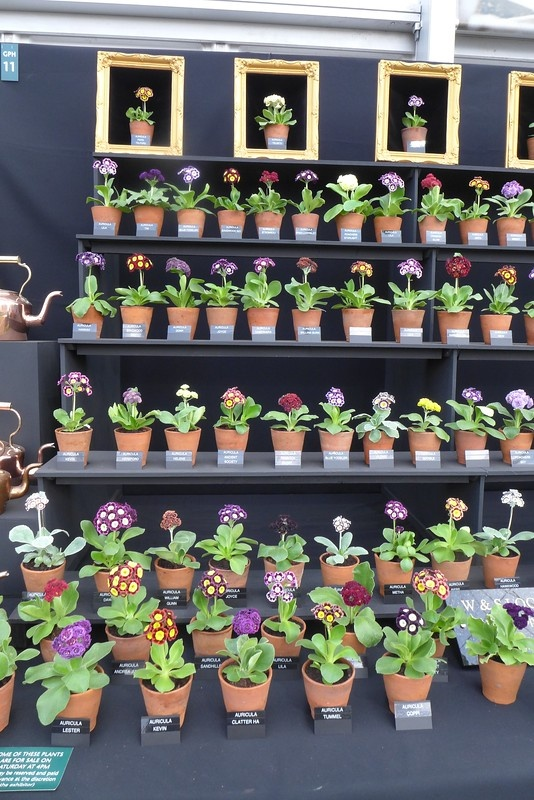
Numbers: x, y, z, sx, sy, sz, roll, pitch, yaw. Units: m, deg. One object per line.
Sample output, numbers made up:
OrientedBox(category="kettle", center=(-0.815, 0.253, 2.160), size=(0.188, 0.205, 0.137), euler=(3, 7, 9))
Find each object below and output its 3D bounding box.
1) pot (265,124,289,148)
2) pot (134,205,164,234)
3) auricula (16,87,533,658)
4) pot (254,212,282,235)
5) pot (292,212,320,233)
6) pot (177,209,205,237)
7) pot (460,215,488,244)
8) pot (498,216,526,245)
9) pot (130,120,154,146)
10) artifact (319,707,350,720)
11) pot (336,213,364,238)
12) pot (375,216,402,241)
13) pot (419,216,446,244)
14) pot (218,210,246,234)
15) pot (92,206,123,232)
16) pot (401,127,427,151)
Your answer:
OrientedBox(category="pot", center=(0.042, -1.138, 2.928), size=(0.091, 0.075, 0.098), euler=(0, 8, 0))
OrientedBox(category="pot", center=(-0.488, -0.733, 2.754), size=(0.112, 0.123, 0.112), euler=(0, -1, 0))
OrientedBox(category="auricula", center=(-0.002, -0.196, 2.787), size=(2.482, 2.118, 0.778), euler=(0, 0, -5))
OrientedBox(category="pot", center=(0.005, -0.721, 2.805), size=(0.107, 0.110, 0.090), euler=(1, 13, -2))
OrientedBox(category="pot", center=(0.163, -0.751, 2.849), size=(0.081, 0.057, 0.080), euler=(1, 5, 0))
OrientedBox(category="pot", center=(-0.313, -0.719, 2.758), size=(0.103, 0.116, 0.092), euler=(-1, 13, -8))
OrientedBox(category="pot", center=(0.913, -0.741, 2.948), size=(0.105, 0.094, 0.113), euler=(1, 3, 0))
OrientedBox(category="pot", center=(1.057, -0.725, 2.899), size=(0.122, 0.129, 0.122), euler=(1, 0, 0))
OrientedBox(category="pot", center=(-0.537, -1.130, 2.884), size=(0.097, 0.100, 0.104), euler=(-1, 7, 0))
OrientedBox(category="artifact", center=(0.185, 0.882, 1.889), size=(0.100, 0.037, 0.015), euler=(-1, 12, -9))
OrientedBox(category="pot", center=(0.352, -0.720, 2.824), size=(0.116, 0.114, 0.088), euler=(2, 13, 2))
OrientedBox(category="pot", center=(0.521, -0.722, 2.873), size=(0.105, 0.112, 0.112), euler=(0, -1, 0))
OrientedBox(category="pot", center=(0.707, -0.715, 2.866), size=(0.111, 0.091, 0.114), euler=(0, 1, 0))
OrientedBox(category="pot", center=(-0.147, -0.733, 2.829), size=(0.106, 0.092, 0.100), euler=(0, 5, 0))
OrientedBox(category="pot", center=(-0.666, -0.734, 2.778), size=(0.116, 0.102, 0.108), euler=(1, 6, 0))
OrientedBox(category="pot", center=(0.659, -1.148, 2.984), size=(0.098, 0.080, 0.105), euler=(0, 2, 0))
